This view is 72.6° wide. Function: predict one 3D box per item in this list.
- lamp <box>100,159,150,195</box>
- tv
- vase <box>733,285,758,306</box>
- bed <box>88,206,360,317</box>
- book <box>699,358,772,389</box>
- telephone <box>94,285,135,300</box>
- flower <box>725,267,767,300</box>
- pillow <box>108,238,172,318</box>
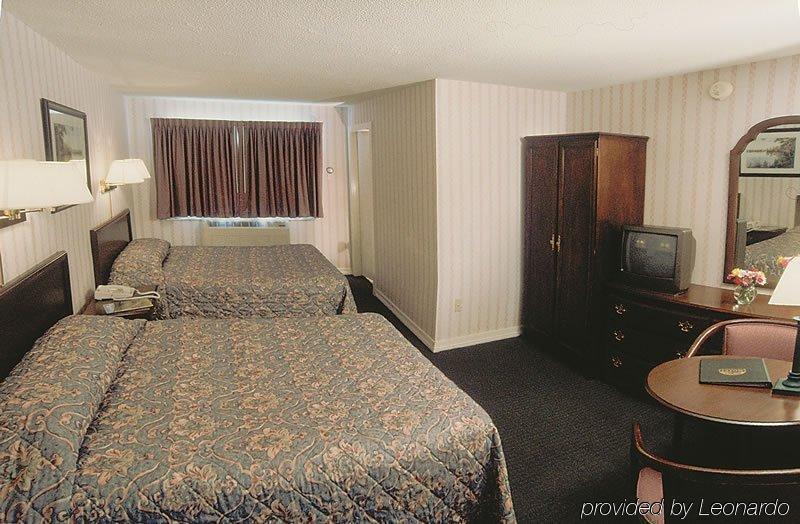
[{"bbox_3d":[-3.067,-0.961,6.055,0.549,0.394,0.743,-6,18,-19],"label":"lamp"},{"bbox_3d":[2.280,-0.088,5.039,0.596,0.705,0.776,-3,7,-34],"label":"tv"},{"bbox_3d":[2.786,0.272,4.399,0.117,0.175,0.111,-16,22,-21],"label":"vase"},{"bbox_3d":[-1.783,0.170,5.365,1.700,0.608,1.600,-4,16,-15],"label":"bed"},{"bbox_3d":[2.138,0.706,3.483,0.252,0.050,0.263,-2,9,26],"label":"book"},{"bbox_3d":[-2.450,0.261,4.675,0.225,0.080,0.164,-2,6,-5],"label":"telephone"},{"bbox_3d":[2.815,0.208,4.449,0.281,0.250,0.269,-2,3,-2],"label":"flower"},{"bbox_3d":[-2.640,0.022,5.614,0.373,0.274,1.166,3,16,-17],"label":"pillow"}]
